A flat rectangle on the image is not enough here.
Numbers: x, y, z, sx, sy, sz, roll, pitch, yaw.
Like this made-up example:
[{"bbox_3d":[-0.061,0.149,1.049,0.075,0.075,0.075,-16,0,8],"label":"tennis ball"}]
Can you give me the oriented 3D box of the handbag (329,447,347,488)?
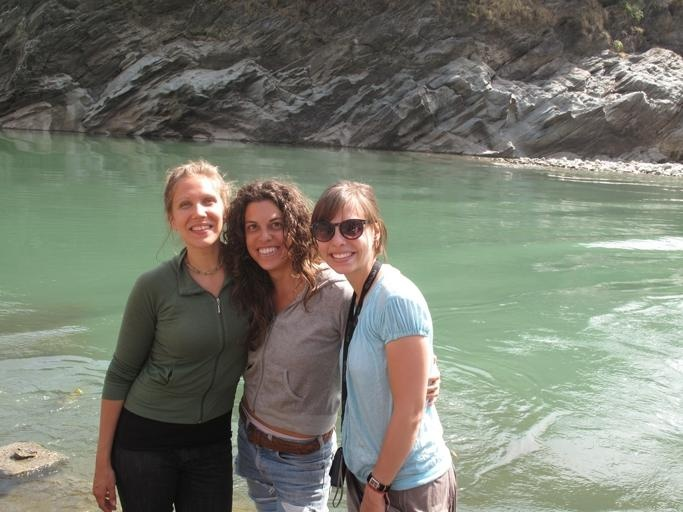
[{"bbox_3d":[-0.026,1.181,3.368,0.087,0.314,0.184,-1,8,-2],"label":"handbag"}]
